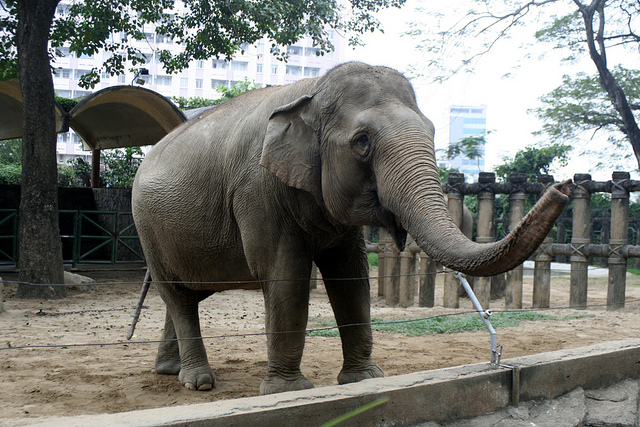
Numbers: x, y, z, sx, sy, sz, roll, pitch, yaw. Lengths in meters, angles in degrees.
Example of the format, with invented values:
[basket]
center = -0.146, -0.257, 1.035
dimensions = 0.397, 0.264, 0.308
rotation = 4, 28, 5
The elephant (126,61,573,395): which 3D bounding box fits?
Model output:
[elephant]
center = 0.035, 0.299, 8.909
dimensions = 6.165, 3.538, 2.165
rotation = -5, -1, 34
